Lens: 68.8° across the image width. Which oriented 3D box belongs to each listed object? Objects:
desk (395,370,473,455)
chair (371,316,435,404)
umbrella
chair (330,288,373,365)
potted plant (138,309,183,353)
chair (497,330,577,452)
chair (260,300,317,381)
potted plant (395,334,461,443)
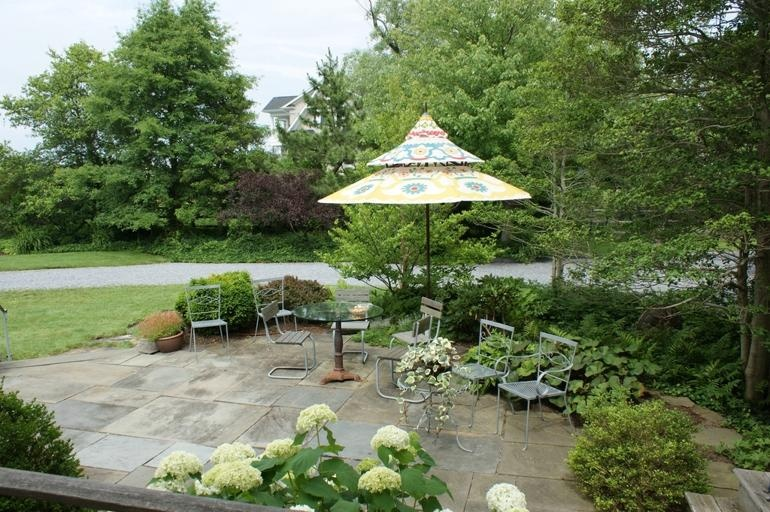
[{"bbox_3d":[0.831,2.176,8.794,0.884,1.078,0.872,1,6,-22],"label":"desk"},{"bbox_3d":[0.307,1.877,9.877,0.979,1.606,1.123,8,15,20],"label":"chair"},{"bbox_3d":[0.577,-0.982,10.700,2.765,3.658,2.764,-4,5,-22],"label":"umbrella"},{"bbox_3d":[-0.701,1.400,11.483,0.844,1.323,0.954,-1,10,-1],"label":"chair"},{"bbox_3d":[-4.762,1.580,11.967,0.902,0.750,0.840,-1,-2,-33],"label":"potted plant"},{"bbox_3d":[2.347,2.075,8.831,1.199,1.471,1.255,0,8,39],"label":"chair"},{"bbox_3d":[-1.799,1.613,10.674,0.995,1.221,1.004,4,5,-3],"label":"chair"},{"bbox_3d":[0.634,1.867,8.580,0.872,1.097,0.789,11,11,4],"label":"potted plant"}]
